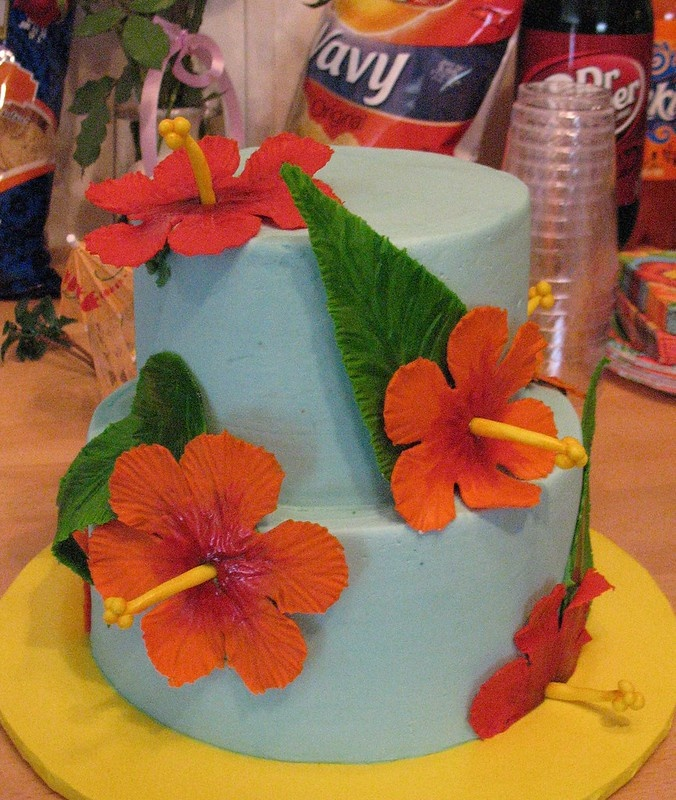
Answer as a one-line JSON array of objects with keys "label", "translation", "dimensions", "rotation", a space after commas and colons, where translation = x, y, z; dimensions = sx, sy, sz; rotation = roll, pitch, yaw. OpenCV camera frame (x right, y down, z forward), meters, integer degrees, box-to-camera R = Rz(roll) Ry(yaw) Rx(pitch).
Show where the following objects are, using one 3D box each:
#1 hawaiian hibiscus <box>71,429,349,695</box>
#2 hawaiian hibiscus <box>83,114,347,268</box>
[{"label": "hawaiian hibiscus", "translation": [-0.060, 0.084, 0.442], "dimensions": [0.128, 0.111, 0.038], "rotation": [-10, 1, 31]}, {"label": "hawaiian hibiscus", "translation": [-0.063, -0.098, 0.521], "dimensions": [0.155, 0.081, 0.099], "rotation": [-15, 42, -18]}]
